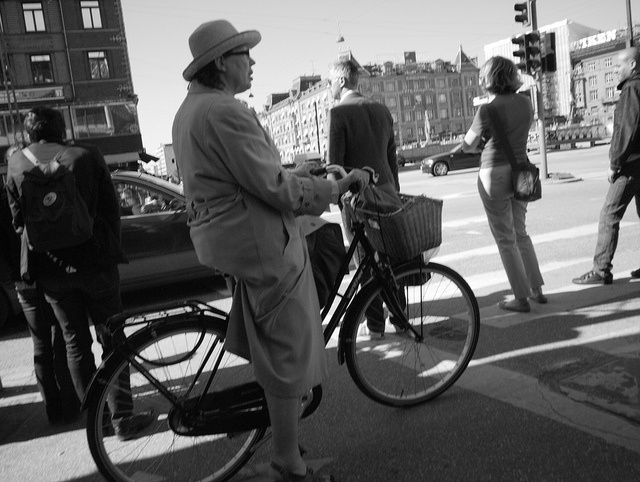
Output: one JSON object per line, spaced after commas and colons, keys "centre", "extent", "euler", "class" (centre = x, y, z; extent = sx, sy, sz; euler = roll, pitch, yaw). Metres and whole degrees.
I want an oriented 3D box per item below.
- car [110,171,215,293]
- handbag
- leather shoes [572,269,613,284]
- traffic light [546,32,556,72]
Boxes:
{"centre": [-2.166, -0.216, 8.069], "extent": [1.628, 1.130, 1.083], "euler": [-7, 12, -20], "class": "car"}
{"centre": [1.920, -0.853, 5.825], "extent": [0.527, 0.993, 0.270], "euler": [1, 10, 21], "class": "handbag"}
{"centre": [3.114, 0.424, 6.692], "extent": [0.413, 0.237, 0.172], "euler": [3, 1, 26], "class": "leather shoes"}
{"centre": [5.410, -4.351, 13.670], "extent": [0.216, 0.904, 0.926], "euler": [1, 12, 21], "class": "traffic light"}
